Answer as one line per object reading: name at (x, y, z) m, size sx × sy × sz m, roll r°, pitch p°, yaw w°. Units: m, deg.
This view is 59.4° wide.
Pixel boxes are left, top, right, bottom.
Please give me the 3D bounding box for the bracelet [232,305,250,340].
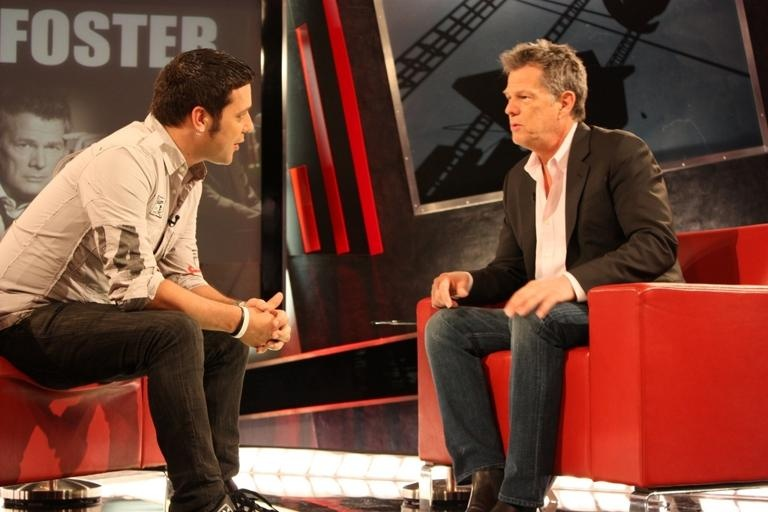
bracelet at (-0.485, 0.222, 2.289) m, size 0.053 × 0.112 × 0.082 m, roll 5°, pitch -13°, yaw -22°
